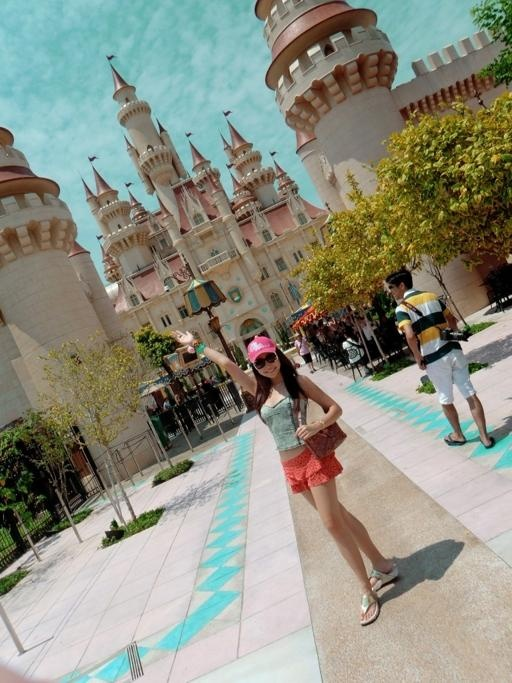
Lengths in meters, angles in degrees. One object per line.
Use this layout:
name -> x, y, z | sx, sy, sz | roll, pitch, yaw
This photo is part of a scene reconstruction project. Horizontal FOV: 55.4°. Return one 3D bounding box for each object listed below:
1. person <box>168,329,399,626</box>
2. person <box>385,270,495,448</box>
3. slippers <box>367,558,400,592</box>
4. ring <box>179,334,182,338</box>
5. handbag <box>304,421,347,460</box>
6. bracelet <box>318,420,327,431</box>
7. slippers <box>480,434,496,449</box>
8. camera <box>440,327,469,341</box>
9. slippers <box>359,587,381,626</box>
person -> 0.423, 0.845, 3.397 | 0.621, 2.225, 0.785 | -31, 0, -6
person -> 2.015, 0.174, 5.240 | 0.635, 2.136, 0.727 | -31, 0, 6
slippers -> 0.950, 1.678, 3.568 | 0.117, 0.124, 0.328 | 3, 25, 42
ring -> -0.608, -0.041, 4.006 | 0.035, 0.032, 0.011 | 1, 11, -42
handbag -> 0.457, 0.639, 3.213 | 0.246, 0.181, 0.079 | -30, 2, -22
bracelet -> 0.430, 0.529, 3.068 | 0.038, 0.047, 0.014 | -3, 4, -17
slippers -> 2.436, 1.051, 5.099 | 0.092, 0.164, 0.046 | -18, 6, 0
camera -> 2.044, -0.069, 4.972 | 0.234, 0.094, 0.150 | 2, 2, 3
slippers -> 0.754, 1.770, 3.228 | 0.097, 0.098, 0.261 | -5, -7, 15
